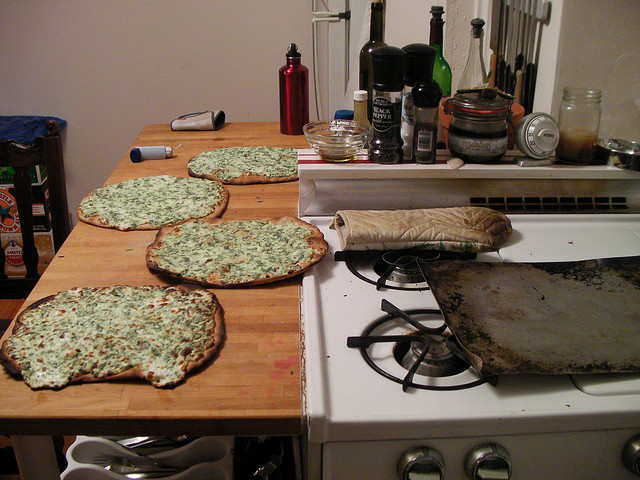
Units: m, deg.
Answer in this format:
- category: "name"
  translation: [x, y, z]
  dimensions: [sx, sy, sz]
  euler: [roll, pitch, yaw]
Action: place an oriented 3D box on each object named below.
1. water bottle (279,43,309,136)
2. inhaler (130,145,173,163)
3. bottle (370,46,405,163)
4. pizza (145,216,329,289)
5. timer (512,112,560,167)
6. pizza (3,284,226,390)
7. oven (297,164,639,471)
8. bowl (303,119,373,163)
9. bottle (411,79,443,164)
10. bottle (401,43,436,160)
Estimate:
- category: "water bottle"
  translation: [-0.112, -0.621, 2.232]
  dimensions: [0.117, 0.372, 0.178]
  euler: [0, 25, -4]
- category: "inhaler"
  translation: [-0.628, -0.322, 1.993]
  dimensions: [0.099, 0.032, 0.081]
  euler: [-5, 19, -13]
- category: "bottle"
  translation: [0.186, -0.366, 1.478]
  dimensions: [0.119, 0.292, 0.112]
  euler: [0, 21, 0]
- category: "pizza"
  translation: [-0.214, 0.024, 1.361]
  dimensions: [0.463, 0.050, 0.349]
  euler: [-1, 28, 0]
- category: "timer"
  translation: [0.589, -0.272, 1.458]
  dimensions: [0.123, 0.140, 0.076]
  euler: [6, 25, 9]
- category: "pizza"
  translation: [-0.417, 0.189, 1.108]
  dimensions: [0.439, 0.078, 0.275]
  euler: [1, 24, -1]
- category: "oven"
  translation: [0.271, 0.249, 1.340]
  dimensions: [0.777, 0.452, 0.717]
  euler: [-1, 41, 3]
- category: "bowl"
  translation: [0.041, -0.292, 1.561]
  dimensions: [0.172, 0.074, 0.169]
  euler: [1, 30, -1]
- category: "bottle"
  translation: [0.278, -0.315, 1.443]
  dimensions: [0.081, 0.222, 0.083]
  euler: [2, 25, -1]
- category: "bottle"
  translation: [0.276, -0.393, 1.520]
  dimensions: [0.111, 0.297, 0.104]
  euler: [-2, 28, 1]
